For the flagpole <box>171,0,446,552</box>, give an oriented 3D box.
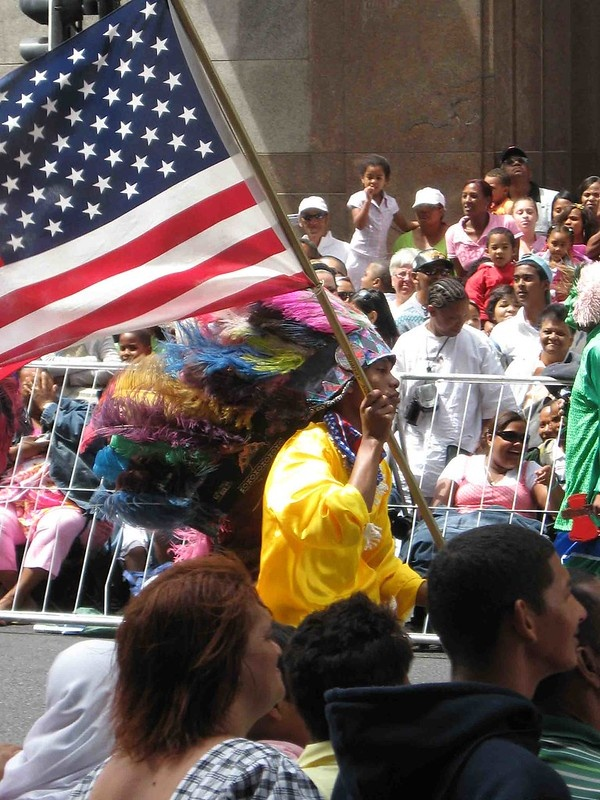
[{"bbox_3d":[0.095,-0.330,3.475,0.950,1.730,0.547,-4,9,-42],"label":"flagpole"}]
